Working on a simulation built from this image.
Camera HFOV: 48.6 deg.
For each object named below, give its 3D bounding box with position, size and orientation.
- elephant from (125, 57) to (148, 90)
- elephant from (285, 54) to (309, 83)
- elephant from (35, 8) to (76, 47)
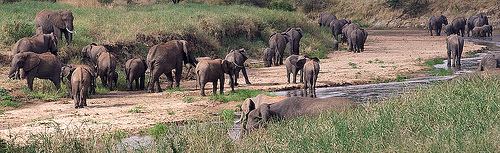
[{"bbox_3d":[-19.588,-0.384,94.539,3.052,5.365,4.041,3,2,7],"label":"elephant"},{"bbox_3d":[7.926,-1.290,94.838,3.622,4.656,2.129,-3,6,14],"label":"elephant"},{"bbox_3d":[-34.988,-9.409,98.230,12.420,6.639,5.542,2,1,36],"label":"elephant"}]
